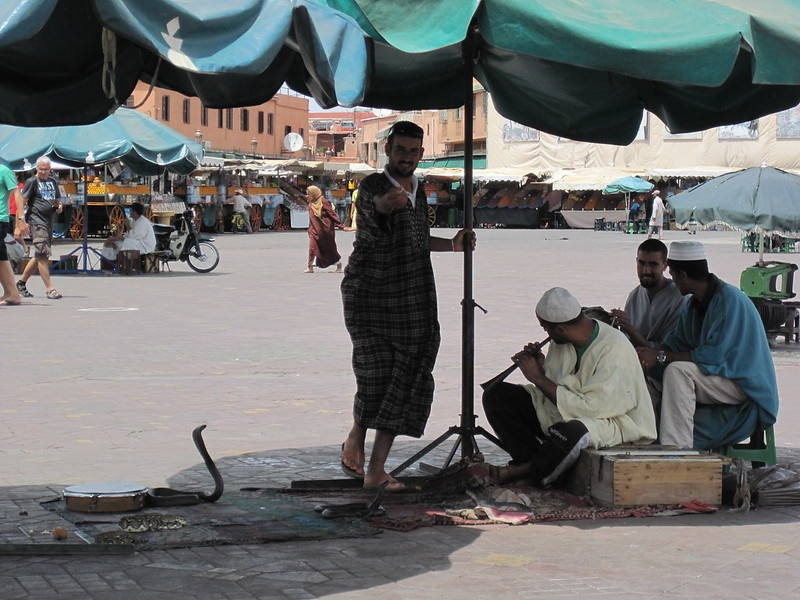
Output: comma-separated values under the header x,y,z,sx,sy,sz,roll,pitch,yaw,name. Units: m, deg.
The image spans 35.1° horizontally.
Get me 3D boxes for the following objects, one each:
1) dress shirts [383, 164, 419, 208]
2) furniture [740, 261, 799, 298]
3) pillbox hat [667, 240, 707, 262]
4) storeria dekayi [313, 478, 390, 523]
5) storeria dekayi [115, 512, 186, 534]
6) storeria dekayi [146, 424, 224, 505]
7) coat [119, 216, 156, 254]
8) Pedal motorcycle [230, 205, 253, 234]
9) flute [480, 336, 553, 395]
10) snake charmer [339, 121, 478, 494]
x,y,z,sx,sy,sz,roll,pitch,yaw,name
0.018,-0.639,6.992,0.211,0.217,0.095,-16,-1,-17,dress shirts
3.975,-0.216,13.457,0.743,0.532,0.486,2,2,21,furniture
1.651,-0.285,7.193,0.170,0.071,0.158,-2,4,-32,pillbox hat
-0.213,1.058,6.755,0.417,0.122,0.507,-7,8,5,storeria dekayi
-1.262,1.135,6.389,0.339,0.055,0.275,-1,2,-13,storeria dekayi
-1.165,0.976,6.826,0.550,0.509,0.312,6,-32,-12,storeria dekayi
-4.315,-1.094,20.886,0.699,0.619,0.532,7,12,3,coat
-5.096,-2.500,39.864,0.559,0.497,0.910,0,3,5,Pedal motorcycle
0.679,0.358,7.440,0.428,0.332,0.408,-9,18,-33,flute
-0.055,0.023,7.018,0.937,1.797,0.830,2,15,-16,snake charmer
